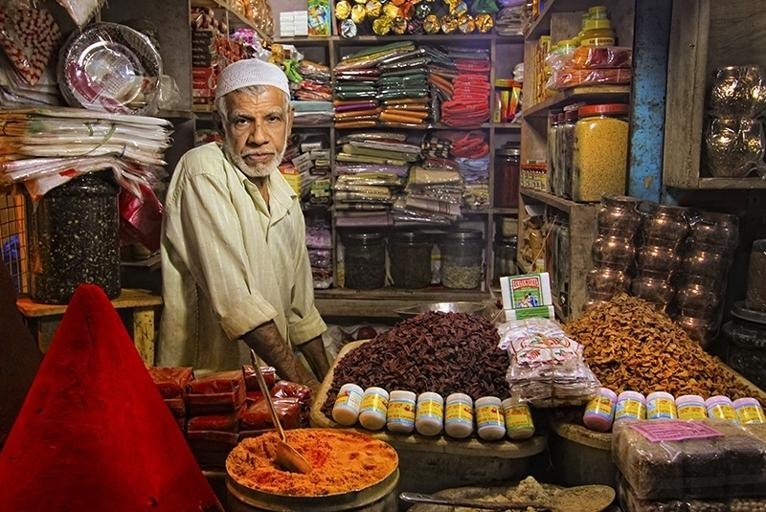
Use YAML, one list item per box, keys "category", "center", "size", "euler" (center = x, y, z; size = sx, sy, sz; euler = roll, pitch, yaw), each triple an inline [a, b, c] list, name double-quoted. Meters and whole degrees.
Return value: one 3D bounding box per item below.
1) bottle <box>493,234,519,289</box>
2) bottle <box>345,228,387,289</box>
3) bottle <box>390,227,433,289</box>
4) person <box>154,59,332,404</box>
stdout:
- category: "bottle"
  center: [0.916, 0.031, 4.163]
  size: [0.168, 0.350, 0.304]
  euler: [-1, 7, 10]
- category: "bottle"
  center: [-0.077, 0.023, 4.315]
  size: [0.394, 0.432, 0.397]
  euler: [-1, 2, 0]
- category: "bottle"
  center: [0.145, 0.039, 4.230]
  size: [0.395, 0.433, 0.398]
  euler: [0, -1, -2]
- category: "person"
  center: [-0.553, -0.091, 2.208]
  size: [0.717, 1.396, 0.655]
  euler: [-5, 8, -26]
